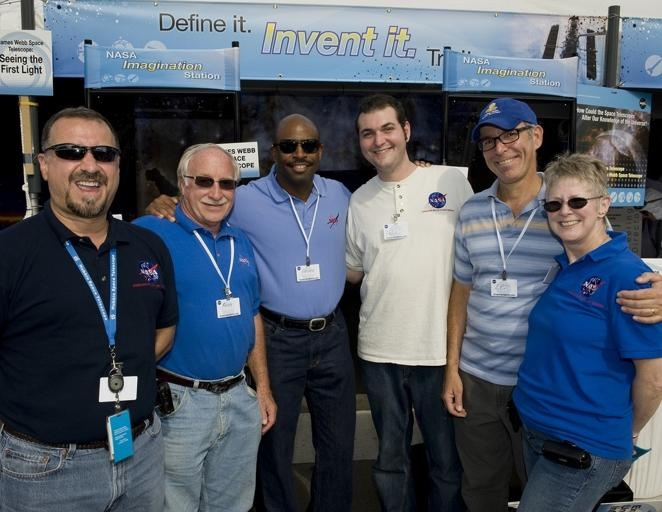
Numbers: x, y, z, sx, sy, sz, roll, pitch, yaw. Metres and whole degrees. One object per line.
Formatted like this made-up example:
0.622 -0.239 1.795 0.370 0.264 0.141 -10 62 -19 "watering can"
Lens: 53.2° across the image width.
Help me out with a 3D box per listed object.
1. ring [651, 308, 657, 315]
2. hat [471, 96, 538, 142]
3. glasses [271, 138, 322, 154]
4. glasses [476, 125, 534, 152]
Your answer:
1.576 0.266 3.216 0.024 0.012 0.033 -2 8 1 "ring"
1.051 -0.854 4.019 0.308 0.244 0.469 -5 0 40 "hat"
-0.221 -0.718 4.299 0.301 0.092 0.128 -3 10 -4 "glasses"
1.032 -0.704 3.938 0.313 0.139 0.153 0 10 14 "glasses"
